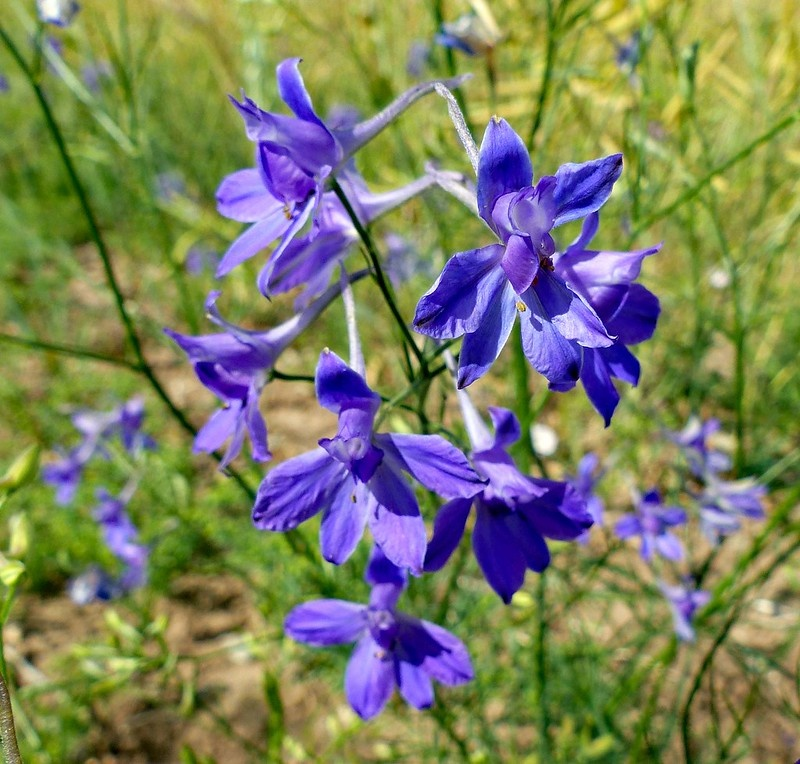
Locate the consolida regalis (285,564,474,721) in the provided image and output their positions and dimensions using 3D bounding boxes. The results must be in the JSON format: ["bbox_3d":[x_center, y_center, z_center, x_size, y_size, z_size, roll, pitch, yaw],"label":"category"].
[{"bbox_3d":[-0.047,0.559,1.997,0.372,0.111,0.278,-13,78,-5],"label":"consolida regalis"}]
